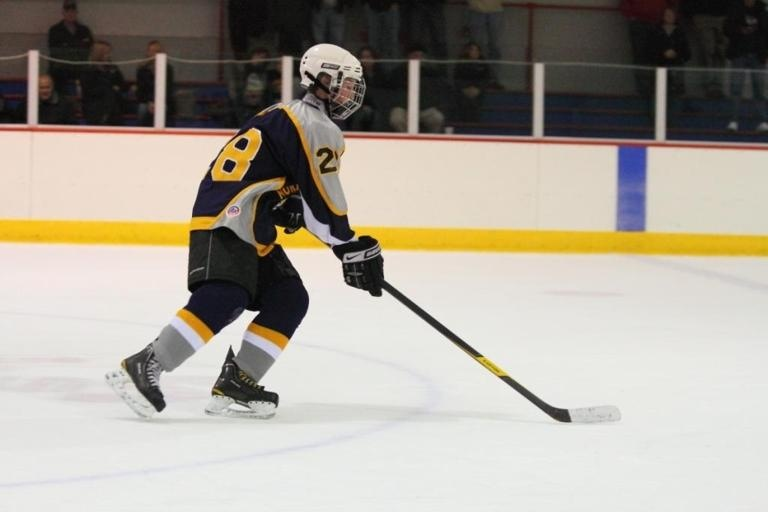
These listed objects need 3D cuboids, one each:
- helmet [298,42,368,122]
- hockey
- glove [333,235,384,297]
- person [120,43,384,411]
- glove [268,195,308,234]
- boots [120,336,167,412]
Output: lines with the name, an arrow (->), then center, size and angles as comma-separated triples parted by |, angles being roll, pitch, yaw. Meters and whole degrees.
helmet -> -0.287, -0.934, 5.655 | 0.380, 0.342, 0.280 | 10, 15, -1
hockey -> 0.439, 0.486, 5.661 | 0.188, 0.150, 1.337 | -35, 61, -27
glove -> -0.164, 0.059, 5.584 | 0.308, 0.290, 0.252 | -1, 15, -6
person -> -0.644, -0.143, 5.444 | 1.287, 1.886, 0.323 | 0, 5, -14
glove -> -0.479, -0.201, 5.470 | 0.163, 0.190, 0.201 | -6, 8, -17
boots -> -1.185, 0.614, 5.309 | 0.217, 0.366, 0.122 | 1, 5, -12
